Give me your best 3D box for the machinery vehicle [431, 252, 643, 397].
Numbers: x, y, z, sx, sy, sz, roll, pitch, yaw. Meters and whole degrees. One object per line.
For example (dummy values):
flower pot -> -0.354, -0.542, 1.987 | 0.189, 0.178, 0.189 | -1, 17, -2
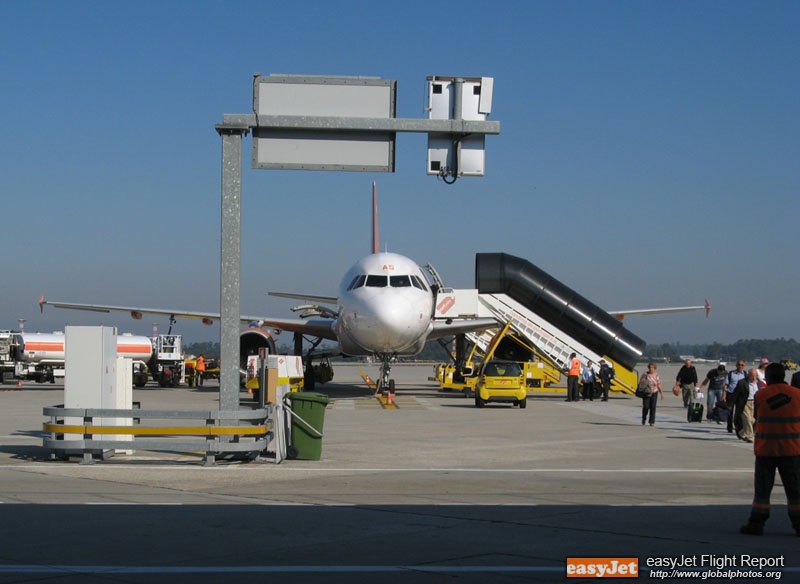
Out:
machinery vehicle -> 4.672, 0.781, 48.083 | 7.913, 4.408, 3.953 | 3, -1, 2

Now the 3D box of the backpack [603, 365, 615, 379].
backpack -> 6.725, 2.553, 47.185 | 0.395, 0.497, 0.537 | 3, -31, 2

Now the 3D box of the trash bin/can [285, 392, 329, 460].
trash bin/can -> -1.846, 2.673, 29.482 | 0.904, 1.252, 0.899 | 1, -1, 1

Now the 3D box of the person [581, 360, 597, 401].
person -> 6.192, 2.899, 48.067 | 0.485, 1.259, 1.470 | 1, -3, 8

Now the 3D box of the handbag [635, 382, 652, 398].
handbag -> 6.041, 2.444, 36.431 | 0.365, 0.355, 0.147 | 4, 5, 43
